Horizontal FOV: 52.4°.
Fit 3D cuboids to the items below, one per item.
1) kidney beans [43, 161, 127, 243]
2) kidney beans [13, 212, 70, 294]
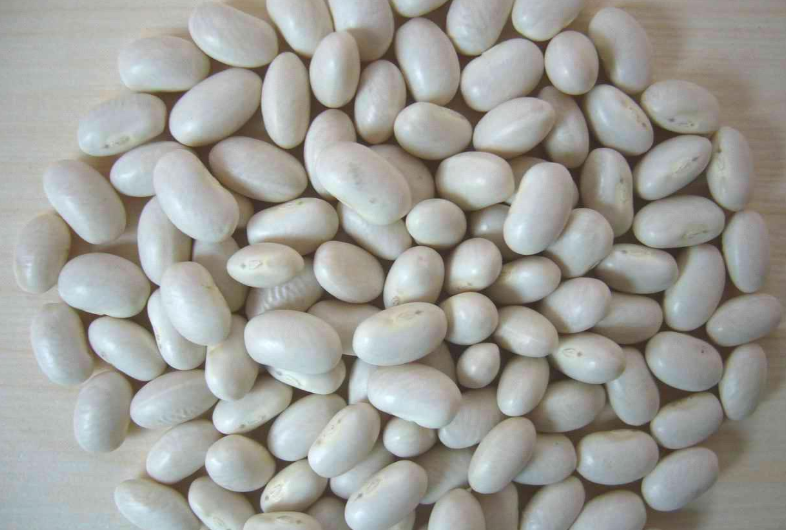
[{"bbox_3d":[-0.383,-0.075,1.044,0.076,0.058,0.115,-39,94,-6],"label":"kidney beans"},{"bbox_3d":[-0.439,-0.015,1.003,0.068,0.050,0.095,15,86,-1],"label":"kidney beans"}]
